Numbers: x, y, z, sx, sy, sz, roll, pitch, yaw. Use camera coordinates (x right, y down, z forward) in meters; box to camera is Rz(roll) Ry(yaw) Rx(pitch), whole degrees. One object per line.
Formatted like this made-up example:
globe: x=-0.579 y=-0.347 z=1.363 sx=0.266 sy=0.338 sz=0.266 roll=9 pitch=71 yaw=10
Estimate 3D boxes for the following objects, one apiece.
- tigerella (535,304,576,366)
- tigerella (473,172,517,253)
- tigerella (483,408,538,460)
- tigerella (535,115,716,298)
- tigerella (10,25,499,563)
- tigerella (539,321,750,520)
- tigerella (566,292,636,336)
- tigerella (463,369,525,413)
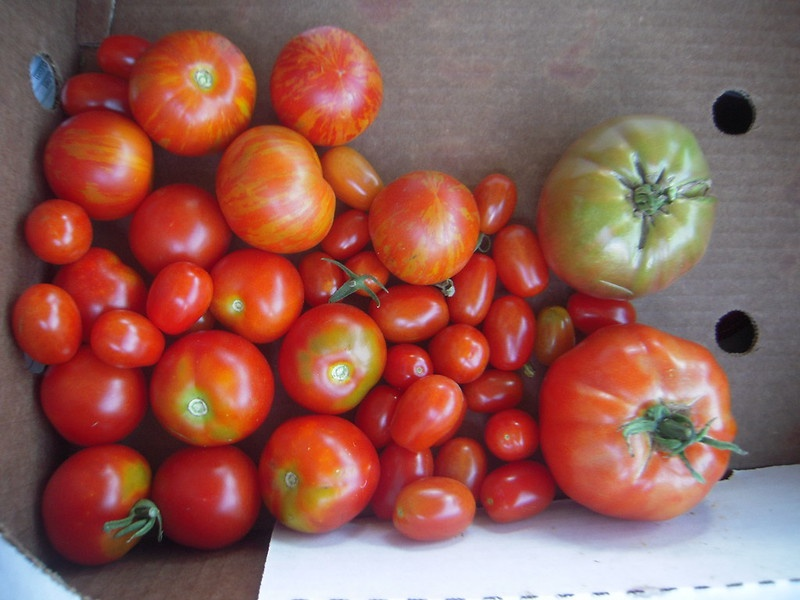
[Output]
tigerella: x=0.327 y=0.087 z=1.674 sx=0.103 sy=0.141 sz=0.106 roll=1 pitch=24 yaw=4
tigerella: x=0.205 y=-0.201 z=1.680 sx=0.113 sy=0.109 sz=0.196 roll=3 pitch=-12 yaw=21
tigerella: x=0.227 y=0.275 z=1.626 sx=0.103 sy=0.099 sz=0.099 roll=43 pitch=3 yaw=10
tigerella: x=0.474 y=-0.211 z=1.671 sx=0.393 sy=0.415 sz=0.438 roll=1 pitch=6 yaw=30
tigerella: x=-0.264 y=-0.029 z=1.504 sx=0.854 sy=0.980 sz=0.412 roll=-2 pitch=10 yaw=5
tigerella: x=0.435 y=0.192 z=1.586 sx=0.354 sy=0.373 sz=0.381 roll=-24 pitch=12 yaw=9
tigerella: x=0.419 y=0.024 z=1.647 sx=0.142 sy=0.090 sz=0.088 roll=12 pitch=-36 yaw=32
tigerella: x=0.194 y=0.195 z=1.657 sx=0.139 sy=0.084 sz=0.092 roll=-8 pitch=31 yaw=-4
